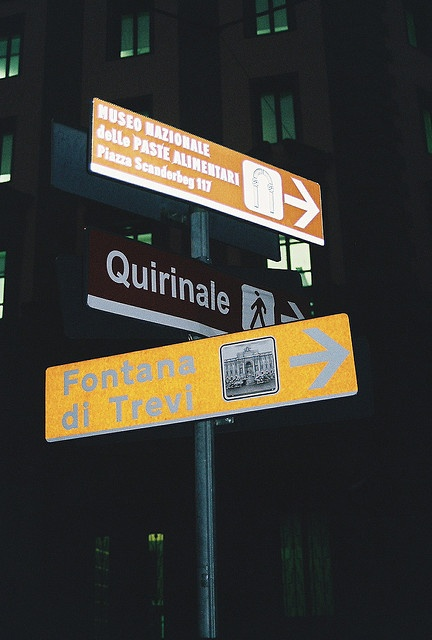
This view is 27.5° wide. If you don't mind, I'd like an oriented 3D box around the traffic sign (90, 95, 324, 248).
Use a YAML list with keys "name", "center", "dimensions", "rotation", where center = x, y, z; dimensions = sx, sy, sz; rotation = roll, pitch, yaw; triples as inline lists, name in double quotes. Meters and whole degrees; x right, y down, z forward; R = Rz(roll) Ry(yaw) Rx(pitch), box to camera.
- name: "traffic sign"
  center: [-0.047, -1.418, 8.513]
  dimensions: [2.450, 0.804, 0.016]
  rotation: [16, -28, -16]

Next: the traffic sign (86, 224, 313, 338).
- name: "traffic sign"
  center: [-0.318, -0.263, 8.317]
  dimensions: [0.015, 0.828, 2.151]
  rotation: [-19, -24, 40]
